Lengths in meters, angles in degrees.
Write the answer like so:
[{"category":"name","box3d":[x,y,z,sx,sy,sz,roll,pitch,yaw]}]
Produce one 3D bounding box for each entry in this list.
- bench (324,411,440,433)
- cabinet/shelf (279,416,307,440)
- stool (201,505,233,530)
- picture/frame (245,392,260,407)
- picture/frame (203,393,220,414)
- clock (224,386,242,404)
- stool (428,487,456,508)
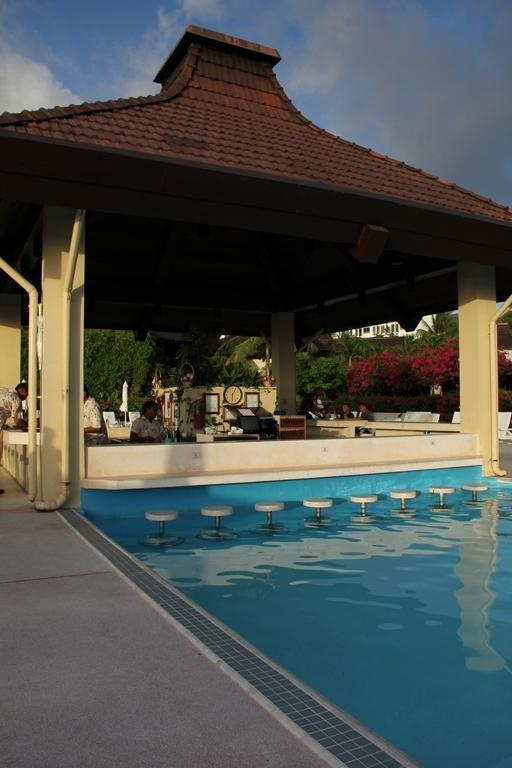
[{"category":"bench","box3d":[2.913,0.840,14.027,2.551,0.496,3.530,3,-3,12]},{"category":"cabinet/shelf","box3d":[0.592,0.653,9.875,0.507,0.399,0.335,1,-6,-24]},{"category":"stool","box3d":[-0.371,1.373,6.014,0.361,0.265,0.363,0,3,-8]},{"category":"picture/frame","box3d":[-0.089,0.359,13.745,0.317,0.359,0.059,4,-18,-19]},{"category":"picture/frame","box3d":[-0.989,0.439,13.890,0.471,0.643,0.063,1,-1,27]},{"category":"clock","box3d":[-0.497,0.255,13.551,0.387,0.391,0.076,1,0,0]},{"category":"stool","box3d":[2.451,1.500,8.059,0.356,0.266,0.357,-1,3,-19]}]
